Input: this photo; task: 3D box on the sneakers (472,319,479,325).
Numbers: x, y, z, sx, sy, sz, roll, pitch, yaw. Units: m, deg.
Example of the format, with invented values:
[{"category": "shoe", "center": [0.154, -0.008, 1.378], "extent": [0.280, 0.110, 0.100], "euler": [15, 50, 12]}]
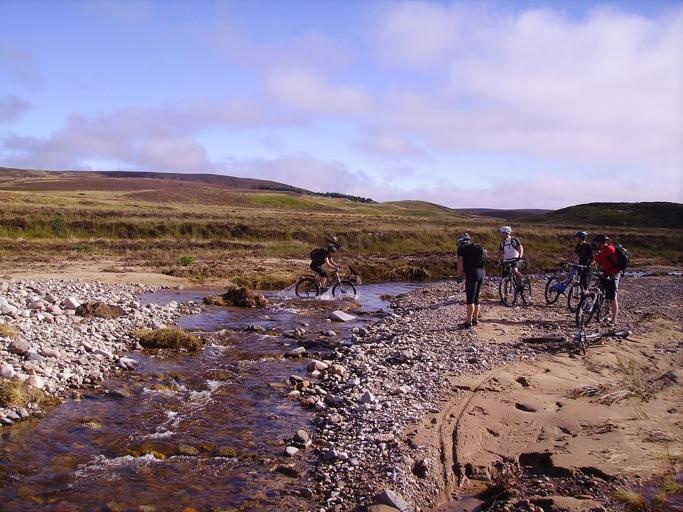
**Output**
[{"category": "sneakers", "center": [4.407, 2.182, 17.727], "extent": [0.222, 0.134, 0.195], "euler": [1, 6, 16]}]

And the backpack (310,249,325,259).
[{"category": "backpack", "center": [-0.974, -0.084, 22.832], "extent": [0.746, 0.244, 0.758], "euler": [-1, -9, 2]}]

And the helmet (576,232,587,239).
[{"category": "helmet", "center": [8.800, -0.780, 19.721], "extent": [0.383, 0.287, 0.293], "euler": [1, 10, 9]}]
